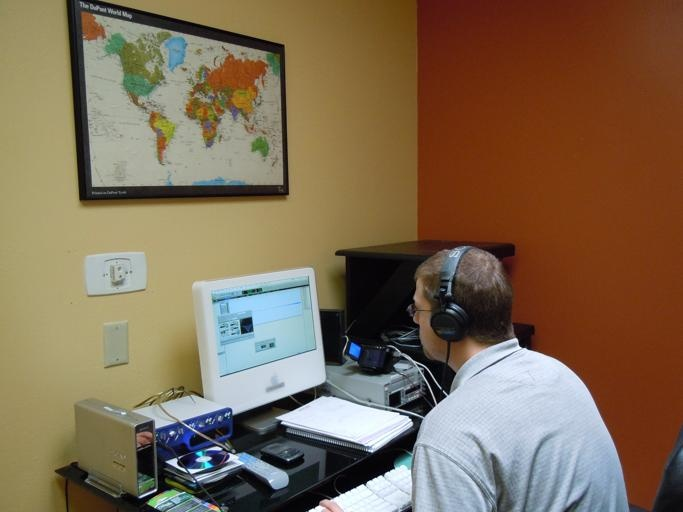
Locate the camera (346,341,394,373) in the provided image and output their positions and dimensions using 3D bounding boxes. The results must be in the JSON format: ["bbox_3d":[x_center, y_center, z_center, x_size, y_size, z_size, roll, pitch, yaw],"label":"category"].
[{"bbox_3d":[0.120,0.425,2.302,0.170,0.105,0.070,7,-9,31],"label":"camera"}]

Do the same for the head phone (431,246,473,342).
[{"bbox_3d":[0.351,0.107,1.702,0.100,0.272,0.288,3,6,23],"label":"head phone"}]

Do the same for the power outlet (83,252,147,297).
[{"bbox_3d":[-0.829,0.062,2.018,0.218,0.154,0.020,-10,12,-33],"label":"power outlet"}]

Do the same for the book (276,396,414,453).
[{"bbox_3d":[0.006,0.573,2.157,0.471,0.110,0.464,-2,10,-43],"label":"book"}]

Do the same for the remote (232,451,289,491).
[{"bbox_3d":[-0.293,0.718,1.848,0.252,0.044,0.084,11,7,37],"label":"remote"}]

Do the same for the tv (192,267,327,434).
[{"bbox_3d":[-0.333,0.371,2.124,0.530,0.516,0.184,-5,0,-43],"label":"tv"}]
